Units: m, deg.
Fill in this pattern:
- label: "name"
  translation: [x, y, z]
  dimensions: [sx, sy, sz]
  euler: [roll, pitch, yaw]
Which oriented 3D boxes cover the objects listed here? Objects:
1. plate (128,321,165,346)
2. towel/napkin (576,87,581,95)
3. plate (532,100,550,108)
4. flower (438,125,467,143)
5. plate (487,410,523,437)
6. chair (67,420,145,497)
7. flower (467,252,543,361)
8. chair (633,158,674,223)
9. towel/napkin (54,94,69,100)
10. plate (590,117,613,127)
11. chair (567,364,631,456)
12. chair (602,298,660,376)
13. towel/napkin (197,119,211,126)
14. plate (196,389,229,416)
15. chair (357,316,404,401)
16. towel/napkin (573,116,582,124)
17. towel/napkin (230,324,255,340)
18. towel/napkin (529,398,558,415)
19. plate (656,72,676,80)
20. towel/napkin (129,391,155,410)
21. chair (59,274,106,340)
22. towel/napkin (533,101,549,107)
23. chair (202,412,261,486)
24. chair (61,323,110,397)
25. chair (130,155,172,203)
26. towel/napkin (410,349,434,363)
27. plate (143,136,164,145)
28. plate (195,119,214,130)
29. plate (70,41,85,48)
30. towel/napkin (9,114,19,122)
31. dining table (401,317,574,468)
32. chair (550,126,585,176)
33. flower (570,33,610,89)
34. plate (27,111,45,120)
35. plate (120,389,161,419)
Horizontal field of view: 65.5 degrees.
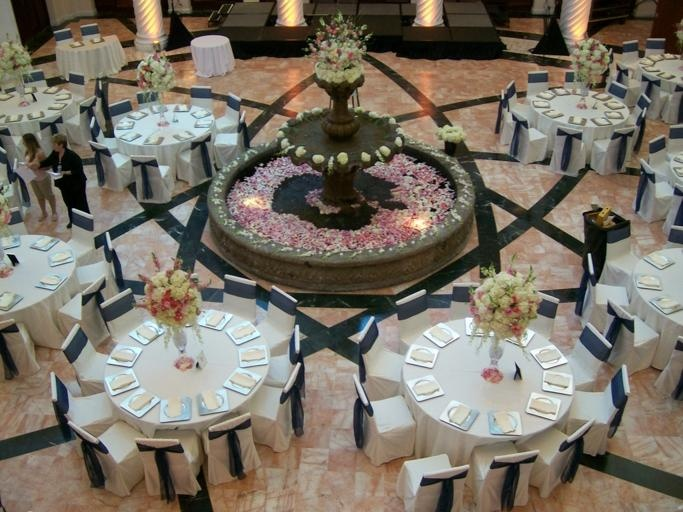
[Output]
- label: "plate"
  translation: [-2.210, 0.877, 6.063]
  dimensions: [0.359, 0.051, 0.358]
  euler: [28, 53, 28]
- label: "towel/napkin"
  translation: [4.807, -3.342, 10.803]
  dimensions: [0.067, 0.210, 0.296]
  euler: [-5, 12, 31]
- label: "plate"
  translation: [3.877, -2.940, 10.350]
  dimensions: [0.209, 0.055, 0.221]
  euler: [5, 39, 11]
- label: "flower"
  translation: [2.032, -2.284, 9.951]
  dimensions: [0.380, 0.147, 0.402]
  euler: [-12, 37, -20]
- label: "plate"
  translation: [1.593, 1.631, 5.215]
  dimensions: [0.317, 0.068, 0.259]
  euler: [1, 37, 1]
- label: "chair"
  translation: [-2.265, 1.971, 5.420]
  dimensions: [0.493, 0.746, 0.532]
  euler: [6, 36, 9]
- label: "flower"
  translation: [1.577, 0.599, 5.310]
  dimensions: [0.603, 1.282, 0.718]
  euler: [12, 37, 17]
- label: "chair"
  translation: [5.145, -1.042, 8.750]
  dimensions: [0.639, 0.928, 0.538]
  euler: [-23, 42, -2]
- label: "towel/napkin"
  translation: [-5.674, -3.221, 10.823]
  dimensions: [0.271, 0.073, 0.155]
  euler: [-14, 38, -24]
- label: "plate"
  translation: [4.767, -2.455, 9.774]
  dimensions: [0.302, 0.064, 0.300]
  euler: [-6, 37, -9]
- label: "chair"
  translation: [2.699, 1.656, 5.615]
  dimensions: [0.452, 0.729, 0.514]
  euler: [20, 54, 16]
- label: "chair"
  translation: [3.451, 0.996, 6.316]
  dimensions: [0.464, 0.691, 0.441]
  euler: [-30, 46, -13]
- label: "towel/napkin"
  translation: [-2.576, -2.463, 9.926]
  dimensions: [0.166, 0.027, 0.192]
  euler: [-3, 41, -7]
- label: "plate"
  translation: [-1.314, 1.497, 5.451]
  dimensions: [0.312, 0.072, 0.250]
  euler: [-7, 37, -10]
- label: "chair"
  translation: [0.456, 1.220, 6.156]
  dimensions: [0.437, 0.724, 0.478]
  euler: [16, 53, 19]
- label: "towel/napkin"
  translation: [4.363, -2.481, 9.805]
  dimensions: [0.190, 0.043, 0.289]
  euler: [17, 40, 21]
- label: "towel/napkin"
  translation: [-1.128, 0.863, 6.123]
  dimensions: [0.208, 0.038, 0.151]
  euler: [-23, 51, -24]
- label: "towel/napkin"
  translation: [2.027, 1.497, 5.320]
  dimensions: [0.174, 0.037, 0.164]
  euler: [12, 42, 16]
- label: "plate"
  translation: [6.924, -3.816, 11.325]
  dimensions: [0.334, 0.037, 0.392]
  euler: [30, 46, 33]
- label: "towel/napkin"
  translation: [-2.044, 1.473, 5.434]
  dimensions: [0.126, 0.047, 0.182]
  euler: [27, 46, 18]
- label: "chair"
  translation: [-3.266, 0.673, 6.687]
  dimensions: [0.380, 0.612, 0.406]
  euler: [36, 49, -1]
- label: "towel/napkin"
  translation: [3.868, -2.940, 10.349]
  dimensions: [0.179, 0.046, 0.188]
  euler: [1, 37, 4]
- label: "chair"
  translation: [-1.142, 1.971, 5.415]
  dimensions: [0.433, 0.613, 0.475]
  euler: [-15, 53, -16]
- label: "chair"
  translation: [-2.976, 1.220, 6.147]
  dimensions: [0.388, 0.690, 0.431]
  euler: [7, 50, 1]
- label: "chair"
  translation: [-3.300, -1.360, 9.209]
  dimensions: [0.632, 0.864, 0.382]
  euler: [-5, 36, -7]
- label: "towel/napkin"
  translation: [0.877, 1.081, 5.796]
  dimensions: [0.159, 0.047, 0.124]
  euler: [9, 45, 6]
- label: "plate"
  translation: [-3.350, -2.050, 9.503]
  dimensions: [0.336, 0.049, 0.264]
  euler: [-5, 37, -7]
- label: "plate"
  translation: [-2.557, -2.459, 9.925]
  dimensions: [0.220, 0.037, 0.258]
  euler: [2, 41, 1]
- label: "plate"
  translation: [-6.595, -5.242, 13.250]
  dimensions: [0.321, 0.054, 0.328]
  euler: [-20, 41, -25]
- label: "towel/napkin"
  translation: [-6.185, -2.590, 10.057]
  dimensions: [0.197, 0.031, 0.253]
  euler: [2, 37, 2]
- label: "dining table"
  translation: [1.348, 1.424, 5.481]
  dimensions: [1.393, 0.540, 1.397]
  euler: [-29, 51, -19]
- label: "chair"
  translation: [4.166, -1.908, 9.768]
  dimensions: [0.528, 0.854, 0.603]
  euler: [9, 54, 20]
- label: "flower"
  translation: [4.535, -3.480, 9.761]
  dimensions: [0.631, 0.886, 0.455]
  euler: [4, 35, 6]
- label: "plate"
  translation: [-5.865, -2.691, 10.227]
  dimensions: [0.298, 0.073, 0.282]
  euler: [-16, 40, -21]
- label: "plate"
  translation: [-2.061, 1.496, 5.438]
  dimensions: [0.327, 0.070, 0.269]
  euler: [20, 41, 24]
